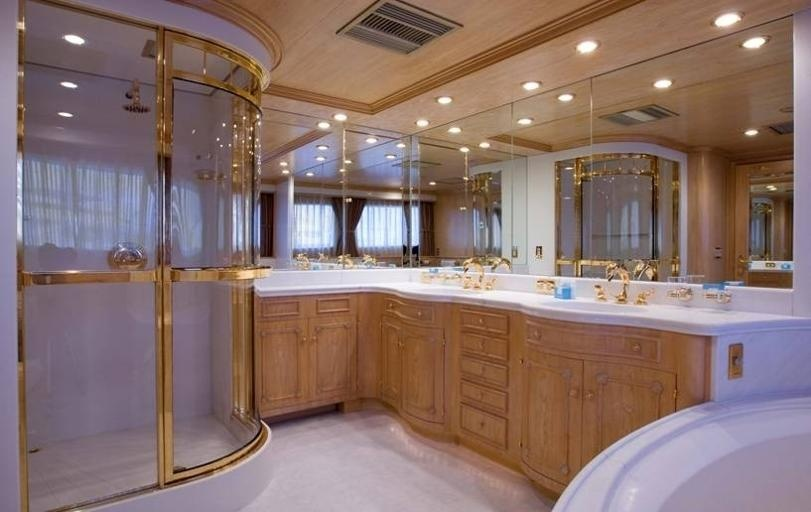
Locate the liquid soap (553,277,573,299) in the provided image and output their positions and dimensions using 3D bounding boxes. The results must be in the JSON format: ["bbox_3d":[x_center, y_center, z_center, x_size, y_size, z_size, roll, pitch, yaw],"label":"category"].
[{"bbox_3d":[1.120,0.219,4.066,0.131,0.184,0.134,2,-3,-9],"label":"liquid soap"}]

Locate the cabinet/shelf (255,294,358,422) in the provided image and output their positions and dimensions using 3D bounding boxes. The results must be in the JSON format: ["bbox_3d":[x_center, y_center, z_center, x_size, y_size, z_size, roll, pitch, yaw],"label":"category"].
[{"bbox_3d":[-0.856,0.832,4.532,1.104,1.092,0.520,1,-3,-32],"label":"cabinet/shelf"}]

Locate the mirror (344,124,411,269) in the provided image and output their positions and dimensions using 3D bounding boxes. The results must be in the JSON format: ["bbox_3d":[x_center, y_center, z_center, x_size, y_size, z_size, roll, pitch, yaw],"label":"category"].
[{"bbox_3d":[-0.233,-0.577,5.291,0.732,1.272,0.353,-2,12,-7],"label":"mirror"}]

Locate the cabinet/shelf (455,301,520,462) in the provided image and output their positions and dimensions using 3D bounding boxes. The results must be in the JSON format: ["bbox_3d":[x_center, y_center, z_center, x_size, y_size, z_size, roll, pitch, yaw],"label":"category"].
[{"bbox_3d":[0.741,0.893,4.109,0.577,1.096,0.573,-4,7,-29],"label":"cabinet/shelf"}]

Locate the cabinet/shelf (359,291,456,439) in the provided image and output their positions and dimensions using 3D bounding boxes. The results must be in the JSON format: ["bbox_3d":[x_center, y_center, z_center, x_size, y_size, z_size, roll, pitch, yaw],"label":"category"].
[{"bbox_3d":[0.142,0.829,4.677,0.579,1.054,1.080,-2,2,-36],"label":"cabinet/shelf"}]

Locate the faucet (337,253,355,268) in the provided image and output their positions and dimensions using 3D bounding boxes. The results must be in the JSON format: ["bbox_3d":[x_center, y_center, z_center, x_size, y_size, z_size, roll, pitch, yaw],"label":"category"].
[{"bbox_3d":[-0.566,0.023,5.156,0.130,0.045,0.128,-13,23,-43],"label":"faucet"}]

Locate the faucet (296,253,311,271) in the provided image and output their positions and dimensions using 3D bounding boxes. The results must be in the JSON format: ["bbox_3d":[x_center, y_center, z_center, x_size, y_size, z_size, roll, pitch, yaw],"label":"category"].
[{"bbox_3d":[-0.925,0.035,4.956,0.137,0.149,0.041,-12,16,-42],"label":"faucet"}]

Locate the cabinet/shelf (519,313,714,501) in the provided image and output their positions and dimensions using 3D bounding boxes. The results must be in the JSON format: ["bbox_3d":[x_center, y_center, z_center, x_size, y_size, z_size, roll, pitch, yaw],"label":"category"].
[{"bbox_3d":[1.214,0.992,3.526,1.183,1.162,0.557,-1,-4,42],"label":"cabinet/shelf"}]

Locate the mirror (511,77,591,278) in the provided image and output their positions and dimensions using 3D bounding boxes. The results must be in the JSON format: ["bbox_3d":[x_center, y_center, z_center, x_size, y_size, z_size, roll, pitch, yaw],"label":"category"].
[{"bbox_3d":[1.100,-0.381,4.313,0.215,1.003,0.515,-12,16,-41],"label":"mirror"}]

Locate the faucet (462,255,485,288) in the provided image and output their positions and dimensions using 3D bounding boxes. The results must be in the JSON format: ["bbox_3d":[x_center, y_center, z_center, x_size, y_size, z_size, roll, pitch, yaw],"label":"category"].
[{"bbox_3d":[0.571,0.133,4.740,0.166,0.259,0.311,-4,12,-13],"label":"faucet"}]

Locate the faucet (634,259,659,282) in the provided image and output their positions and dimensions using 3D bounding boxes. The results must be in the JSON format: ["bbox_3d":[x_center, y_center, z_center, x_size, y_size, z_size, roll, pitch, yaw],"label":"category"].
[{"bbox_3d":[1.637,0.082,3.772,0.165,0.143,0.099,-3,0,5],"label":"faucet"}]
